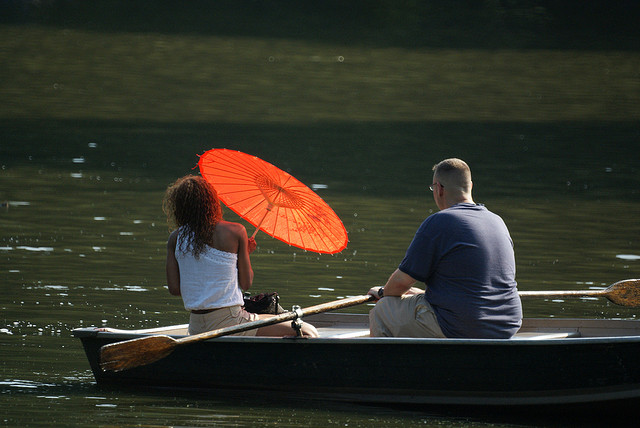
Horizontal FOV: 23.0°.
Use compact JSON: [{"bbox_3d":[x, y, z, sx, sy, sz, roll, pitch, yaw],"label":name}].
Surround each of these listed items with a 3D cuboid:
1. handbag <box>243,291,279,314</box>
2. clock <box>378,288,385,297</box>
[{"bbox_3d":[-1.155,1.767,31.706,0.675,0.236,0.465,-1,-1,17],"label":"handbag"},{"bbox_3d":[1.272,1.534,31.273,0.051,0.119,0.107,3,25,-47],"label":"clock"}]
